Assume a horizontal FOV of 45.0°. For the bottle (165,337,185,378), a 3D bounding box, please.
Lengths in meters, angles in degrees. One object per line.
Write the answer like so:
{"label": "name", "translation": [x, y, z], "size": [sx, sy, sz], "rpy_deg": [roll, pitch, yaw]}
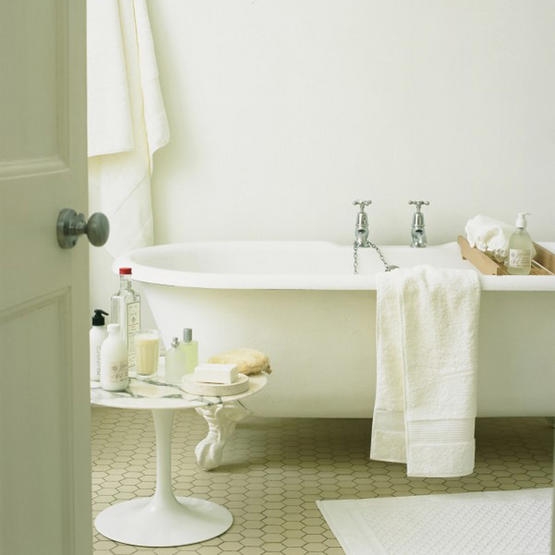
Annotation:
{"label": "bottle", "translation": [-0.263, 0.211, 1.709], "size": [0.049, 0.110, 0.030], "rpy_deg": [-1, 9, -5]}

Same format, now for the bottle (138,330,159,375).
{"label": "bottle", "translation": [-0.341, 0.200, 1.760], "size": [0.057, 0.104, 0.070], "rpy_deg": [-2, 9, -11]}

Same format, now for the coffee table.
{"label": "coffee table", "translation": [-0.277, 0.455, 1.882], "size": [0.472, 0.429, 0.612], "rpy_deg": [-1, 8, -10]}

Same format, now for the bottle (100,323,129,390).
{"label": "bottle", "translation": [-0.398, 0.196, 1.641], "size": [0.066, 0.162, 0.049], "rpy_deg": [-4, 10, -26]}

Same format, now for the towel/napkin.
{"label": "towel/napkin", "translation": [0.431, 0.276, 1.964], "size": [0.290, 0.586, 0.163], "rpy_deg": [1, 9, 9]}
